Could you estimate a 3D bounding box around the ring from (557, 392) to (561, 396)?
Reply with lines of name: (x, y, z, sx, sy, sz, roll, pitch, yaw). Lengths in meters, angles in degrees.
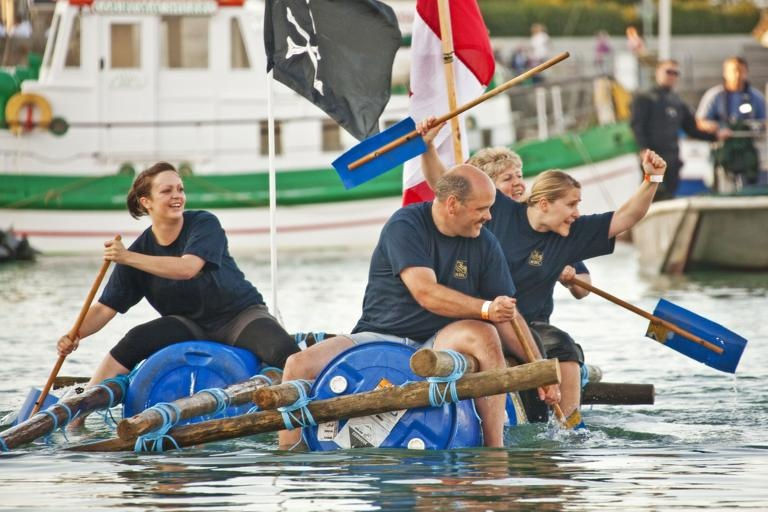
ring: (2.154, 1.662, 22.396, 0.018, 0.045, 0.042, 7, 9, 43)

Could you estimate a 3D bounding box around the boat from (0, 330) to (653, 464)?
boat: (-1.610, 1.733, 21.728, 6.940, 0.978, 2.278, -4, 7, -10)

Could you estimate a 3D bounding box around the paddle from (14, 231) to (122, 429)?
paddle: (-4.479, 1.077, 25.941, 0.139, 2.926, 0.412, 15, -17, 29)

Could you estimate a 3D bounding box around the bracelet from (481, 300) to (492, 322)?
bracelet: (1.221, 0.629, 21.646, 0.126, 0.196, 0.185, 4, 10, 13)

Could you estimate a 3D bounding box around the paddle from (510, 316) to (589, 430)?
paddle: (1.929, 1.360, 22.098, 0.418, 0.252, 2.439, -13, 41, -15)

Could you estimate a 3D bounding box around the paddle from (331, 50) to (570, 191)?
paddle: (0.934, -1.709, 22.760, 3.271, 0.629, 0.156, -27, 36, 11)
